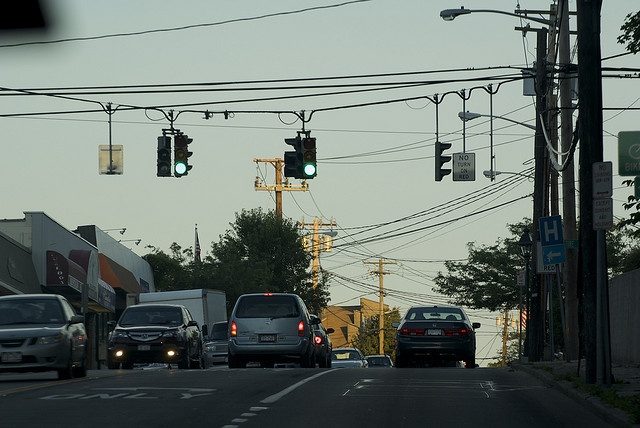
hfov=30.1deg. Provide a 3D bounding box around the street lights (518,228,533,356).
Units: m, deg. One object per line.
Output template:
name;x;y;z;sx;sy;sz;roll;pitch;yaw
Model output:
street lights;8.078;3.021;46.473;0.723;4.694;0.761;4;-8;-36

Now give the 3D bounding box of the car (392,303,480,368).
car;3.523;3.631;36.392;2.355;1.673;1.095;-1;-10;1

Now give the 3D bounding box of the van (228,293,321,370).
van;-1.529;3.432;36.122;2.410;2.000;0.903;1;-10;-11

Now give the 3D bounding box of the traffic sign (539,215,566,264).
traffic sign;6.471;0.775;33.282;0.647;1.458;0.031;-5;17;8

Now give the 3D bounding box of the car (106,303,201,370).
car;-5.548;4.305;40.593;2.788;2.463;5.492;0;-9;-1
